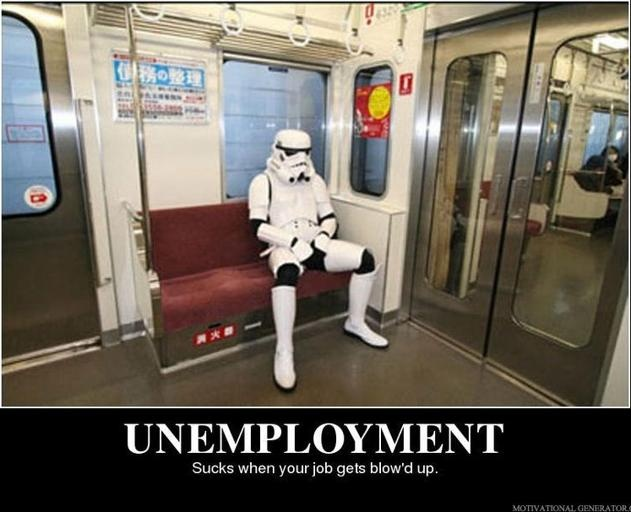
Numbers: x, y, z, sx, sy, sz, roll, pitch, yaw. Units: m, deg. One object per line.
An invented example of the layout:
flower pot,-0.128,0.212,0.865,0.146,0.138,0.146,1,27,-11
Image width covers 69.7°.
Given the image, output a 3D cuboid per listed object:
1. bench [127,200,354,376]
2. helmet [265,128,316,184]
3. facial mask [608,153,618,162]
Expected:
bench,-0.663,0.092,3.669,1.456,1.191,0.843,-11,23,-27
helmet,-0.189,-0.813,3.737,0.402,0.379,0.416,-17,39,-28
facial mask,1.823,-0.606,2.781,0.031,0.040,0.042,7,21,-6
